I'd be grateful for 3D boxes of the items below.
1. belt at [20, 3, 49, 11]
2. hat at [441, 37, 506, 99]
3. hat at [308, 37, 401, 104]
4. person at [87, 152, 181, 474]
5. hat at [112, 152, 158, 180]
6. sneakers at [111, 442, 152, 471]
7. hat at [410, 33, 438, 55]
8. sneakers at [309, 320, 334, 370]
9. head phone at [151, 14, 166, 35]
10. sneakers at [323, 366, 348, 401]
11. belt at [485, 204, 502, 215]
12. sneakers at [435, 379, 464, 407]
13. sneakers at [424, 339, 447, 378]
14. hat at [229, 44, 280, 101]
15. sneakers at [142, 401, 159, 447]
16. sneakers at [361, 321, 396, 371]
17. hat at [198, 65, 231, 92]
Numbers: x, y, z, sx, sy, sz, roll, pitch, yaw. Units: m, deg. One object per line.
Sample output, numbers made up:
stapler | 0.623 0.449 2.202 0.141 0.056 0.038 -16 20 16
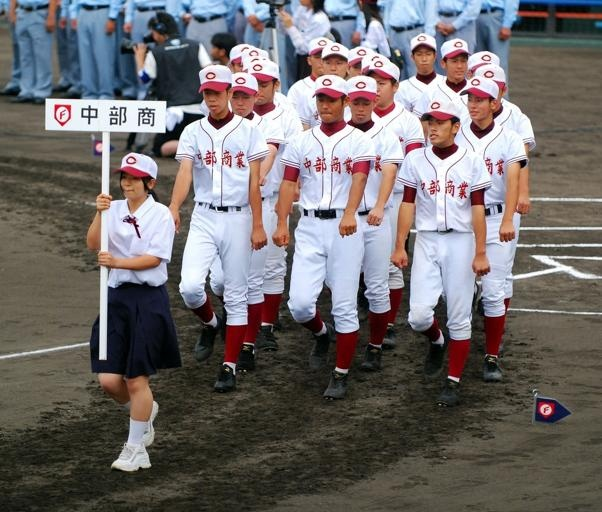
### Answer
belt | -4.425 -4.101 17.557 0.241 0.075 0.213 -1 5 8
hat | 1.485 -1.706 9.577 0.463 0.348 0.726 -15 18 -7
hat | 0.352 -1.674 9.586 0.481 0.377 0.751 -1 -9 -5
person | -1.087 0.350 6.962 0.606 1.988 0.673 0 12 -11
hat | -1.090 -0.577 6.969 0.171 0.100 0.228 16 2 42
sneakers | -1.084 1.308 6.931 0.124 0.151 0.311 0 -3 33
hat | 1.141 -1.960 9.856 0.272 0.173 0.343 -2 0 11
sneakers | 0.153 0.709 8.596 0.151 0.394 0.183 5 -19 33
head phone | -1.901 -3.050 14.091 0.283 0.216 0.256 -7 7 1
sneakers | 0.273 0.957 7.974 0.147 0.198 0.220 6 12 20
belt | 1.548 -0.368 8.514 0.110 0.040 0.114 -31 16 -36
sneakers | 1.101 1.011 7.826 0.109 0.113 0.287 4 6 22
sneakers | 1.077 0.816 8.411 0.121 0.311 0.137 13 -6 25
hat | -0.432 -1.694 9.166 0.390 0.310 0.583 0 -5 -3
sneakers | -1.004 1.123 7.108 0.116 0.285 0.135 6 4 -4
sneakers | 0.630 0.757 8.694 0.170 0.207 0.524 5 22 32
hat | -0.635 -1.322 7.956 0.235 0.196 0.230 1 11 -5
